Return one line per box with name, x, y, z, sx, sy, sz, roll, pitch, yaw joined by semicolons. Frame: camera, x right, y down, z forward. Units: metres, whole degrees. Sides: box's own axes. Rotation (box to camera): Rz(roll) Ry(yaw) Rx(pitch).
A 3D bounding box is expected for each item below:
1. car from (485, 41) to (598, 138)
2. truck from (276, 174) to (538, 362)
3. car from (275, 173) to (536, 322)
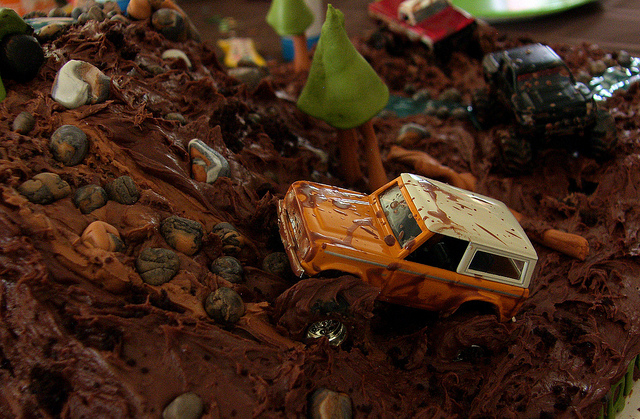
car;3.588;-2.107;13.027;1.318;1.280;2.350;-14;38;-2
truck;1.256;0.631;10.890;3.474;1.913;2.183;16;42;-33
car;1.297;0.527;10.693;3.158;1.673;1.958;15;43;-31
